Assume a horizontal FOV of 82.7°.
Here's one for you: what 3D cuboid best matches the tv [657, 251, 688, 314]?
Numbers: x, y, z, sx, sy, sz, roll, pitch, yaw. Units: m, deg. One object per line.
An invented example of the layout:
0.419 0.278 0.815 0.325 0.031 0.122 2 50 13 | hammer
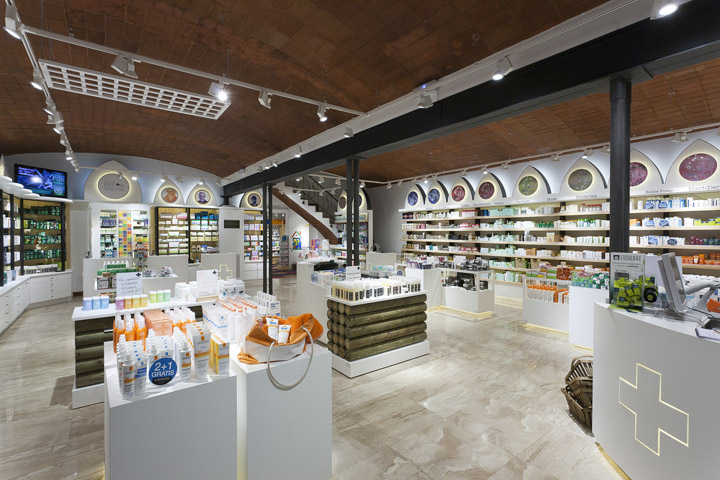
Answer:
4.117 0.573 5.428 0.285 0.894 0.574 -15 2 40 | tv
